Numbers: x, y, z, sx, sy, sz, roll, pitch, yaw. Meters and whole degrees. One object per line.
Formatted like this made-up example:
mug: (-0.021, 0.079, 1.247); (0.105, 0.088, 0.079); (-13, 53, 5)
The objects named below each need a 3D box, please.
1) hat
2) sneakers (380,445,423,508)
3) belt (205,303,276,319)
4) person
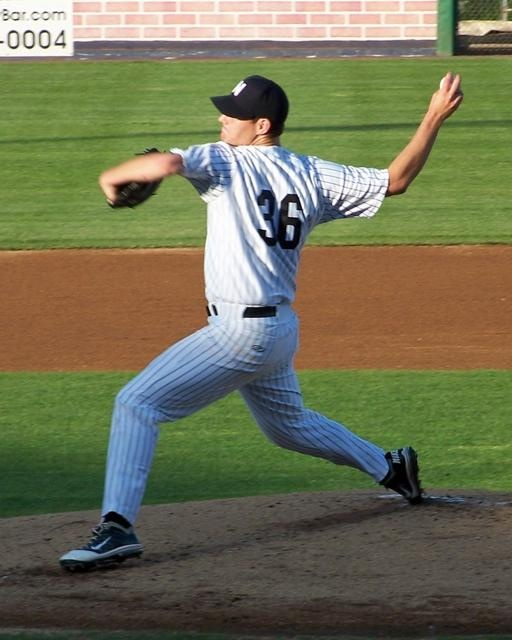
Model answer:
hat: (0.003, -0.687, 3.185); (0.266, 0.104, 0.140); (15, 23, -5)
sneakers: (0.510, 0.543, 3.551); (0.148, 0.244, 0.080); (-7, 48, 10)
belt: (-0.067, -0.026, 3.117); (0.232, 0.048, 0.086); (2, 13, 20)
person: (-0.048, -0.008, 3.216); (1.431, 1.509, 0.316); (-12, 18, -30)
